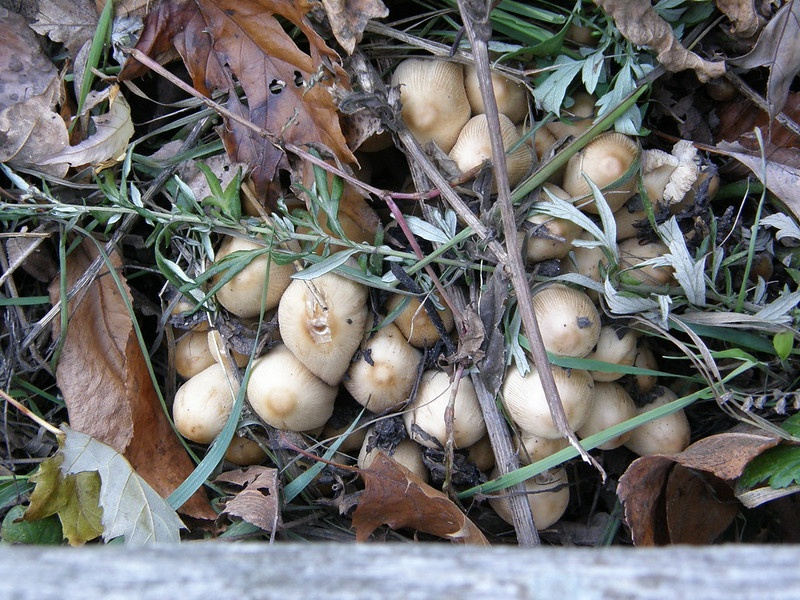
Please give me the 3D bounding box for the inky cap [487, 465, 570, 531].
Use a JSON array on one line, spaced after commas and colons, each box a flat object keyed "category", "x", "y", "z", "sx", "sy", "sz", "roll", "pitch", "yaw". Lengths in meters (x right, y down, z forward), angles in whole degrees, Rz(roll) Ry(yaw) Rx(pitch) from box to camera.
[{"category": "inky cap", "x": 0.202, "y": 0.371, "z": 1.339, "sx": 0.057, "sy": 0.105, "sz": 0.102, "roll": 37, "pitch": 69, "yaw": 2}]
